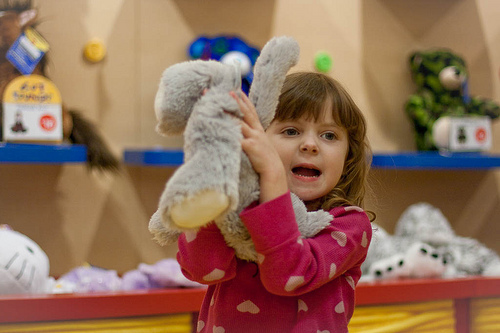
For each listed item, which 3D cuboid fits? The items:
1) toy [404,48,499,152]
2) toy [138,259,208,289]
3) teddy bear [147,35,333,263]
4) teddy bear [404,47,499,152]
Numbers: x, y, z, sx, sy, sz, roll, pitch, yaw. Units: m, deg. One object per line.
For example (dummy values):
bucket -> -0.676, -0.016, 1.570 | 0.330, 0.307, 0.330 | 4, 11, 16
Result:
toy -> 0.778, -0.260, 2.273 | 0.327, 0.395, 0.237 | -2, 9, -13
toy -> -0.258, 0.362, 1.966 | 0.227, 0.073, 0.125 | 7, 11, 36
teddy bear -> -0.029, 0.001, 1.685 | 0.506, 0.701, 0.434 | 7, -8, -15
teddy bear -> 0.709, -0.234, 2.278 | 0.338, 0.485, 0.388 | -2, -2, -11
